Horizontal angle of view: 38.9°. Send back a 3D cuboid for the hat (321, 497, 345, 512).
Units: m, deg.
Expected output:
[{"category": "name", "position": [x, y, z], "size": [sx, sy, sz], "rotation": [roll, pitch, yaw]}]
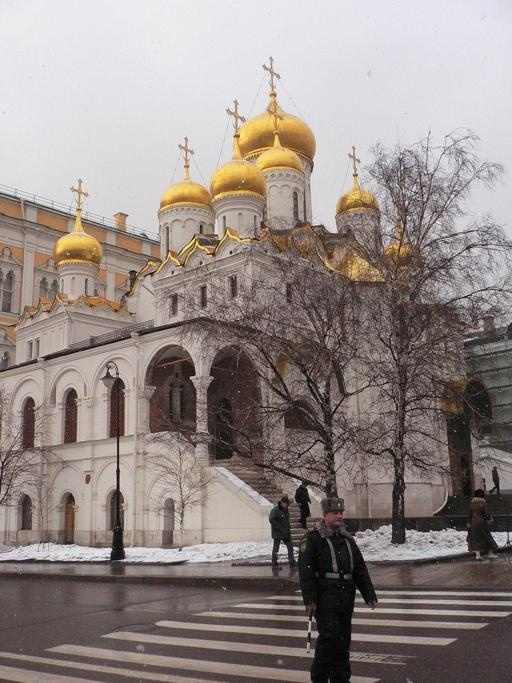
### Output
[{"category": "hat", "position": [0.583, 1.249, 5.610], "size": [0.128, 0.105, 0.165], "rotation": [12, -24, -37]}]
